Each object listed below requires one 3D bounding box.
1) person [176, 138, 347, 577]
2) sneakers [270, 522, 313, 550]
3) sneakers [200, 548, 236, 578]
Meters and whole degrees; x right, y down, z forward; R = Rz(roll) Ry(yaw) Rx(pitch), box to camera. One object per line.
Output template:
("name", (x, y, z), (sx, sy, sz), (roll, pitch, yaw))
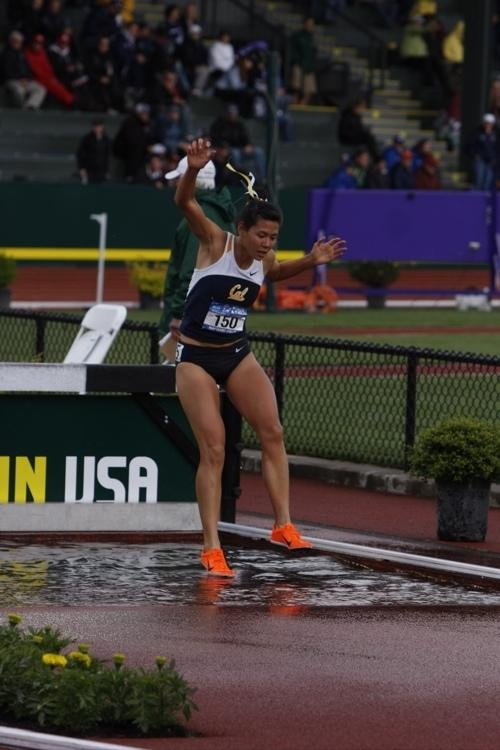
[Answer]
("person", (-0.058, -0.048, 4.989), (0.703, 1.843, 1.133), (6, 1, 27))
("sneakers", (0.199, 0.782, 5.183), (0.093, 0.104, 0.267), (-2, 1, -36))
("sneakers", (-0.149, 0.866, 4.940), (0.080, 0.079, 0.213), (-1, 3, -28))
